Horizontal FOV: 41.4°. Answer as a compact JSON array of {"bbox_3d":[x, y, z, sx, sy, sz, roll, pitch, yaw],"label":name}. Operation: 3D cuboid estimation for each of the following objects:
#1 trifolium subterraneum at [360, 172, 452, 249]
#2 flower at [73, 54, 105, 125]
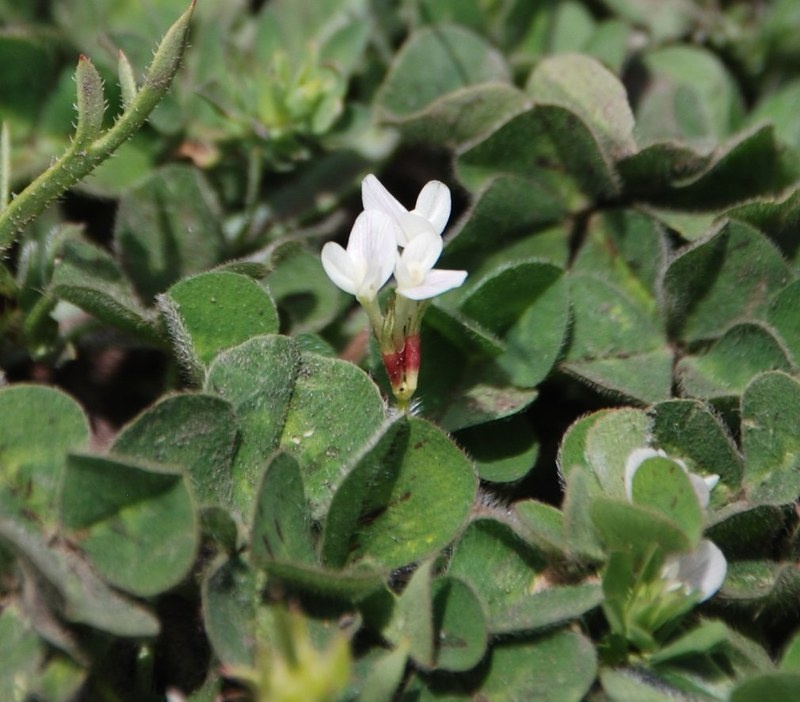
[{"bbox_3d":[0.022,-0.155,1.261,0.110,0.111,0.058,50,126,40],"label":"trifolium subterraneum"},{"bbox_3d":[-0.386,-0.319,1.324,0.028,0.106,0.024,-17,30,-28],"label":"flower"}]
